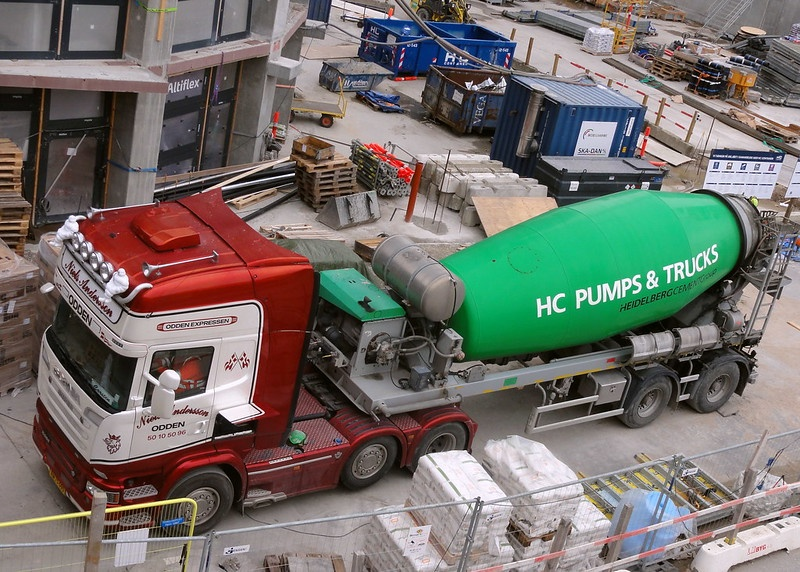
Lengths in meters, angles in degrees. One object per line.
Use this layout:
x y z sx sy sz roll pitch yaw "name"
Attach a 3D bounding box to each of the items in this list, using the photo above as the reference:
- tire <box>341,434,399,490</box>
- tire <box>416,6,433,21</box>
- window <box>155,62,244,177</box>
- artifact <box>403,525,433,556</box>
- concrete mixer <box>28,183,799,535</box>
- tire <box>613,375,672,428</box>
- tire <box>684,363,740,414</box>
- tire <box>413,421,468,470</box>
-0.491 2.642 10.799 0.934 0.883 0.305 -12 38 -33 "tire"
1.115 -12.989 33.981 0.817 0.488 0.435 18 27 19 "tire"
-4.926 -4.132 17.477 0.411 1.990 2.844 15 33 14 "window"
0.246 3.251 9.092 0.423 0.386 0.184 -7 30 -29 "artifact"
0.481 0.605 12.742 12.298 3.704 3.700 -7 29 -39 "concrete mixer"
4.610 2.145 13.637 1.208 1.118 0.402 -9 29 -27 "tire"
6.206 1.979 14.333 1.263 1.179 0.360 8 16 -36 "tire"
0.571 2.393 10.726 0.803 0.755 0.254 -6 27 -36 "tire"
